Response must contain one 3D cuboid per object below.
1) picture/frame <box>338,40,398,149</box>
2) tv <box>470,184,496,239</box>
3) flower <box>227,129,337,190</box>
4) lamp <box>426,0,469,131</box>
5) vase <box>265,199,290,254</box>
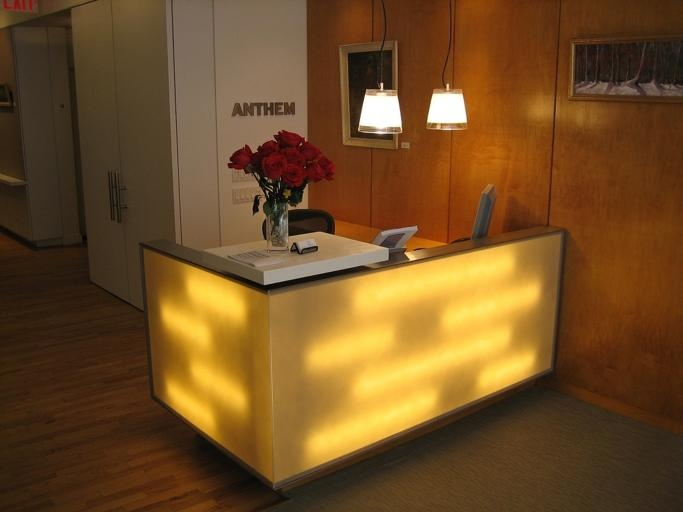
[{"bbox_3d":[0.266,-1.574,5.474,0.081,1.222,0.943,-14,22,-37],"label":"picture/frame"},{"bbox_3d":[1.135,-0.323,4.621,0.154,0.421,0.450,4,20,18],"label":"tv"},{"bbox_3d":[-0.365,-0.576,3.496,0.494,0.322,0.439,10,23,30],"label":"flower"},{"bbox_3d":[0.915,-1.575,4.833,0.317,1.109,0.913,2,19,12],"label":"lamp"},{"bbox_3d":[-0.406,-0.183,3.611,0.140,0.326,0.204,-4,19,-8],"label":"vase"}]
